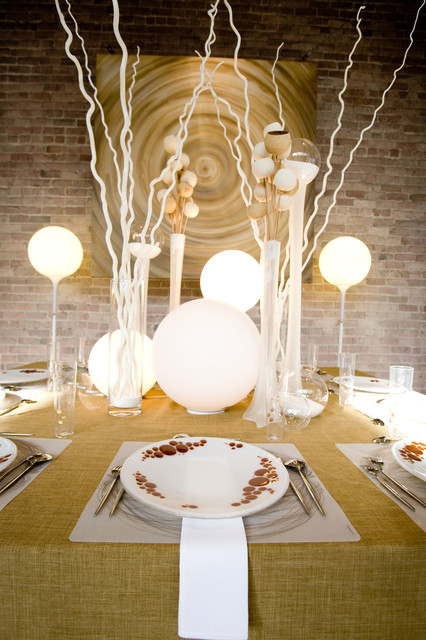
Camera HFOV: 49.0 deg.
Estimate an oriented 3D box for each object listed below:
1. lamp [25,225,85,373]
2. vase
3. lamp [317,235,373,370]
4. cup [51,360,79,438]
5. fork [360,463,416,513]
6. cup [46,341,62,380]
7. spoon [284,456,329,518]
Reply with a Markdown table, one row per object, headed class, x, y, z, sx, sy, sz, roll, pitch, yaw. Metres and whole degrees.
| class | x | y | z | sx | sy | sz | roll | pitch | yaw |
| --- | --- | --- | --- | --- | --- | --- | --- | --- | --- |
| lamp | -1.008 | -0.220 | 3.013 | 0.343 | 0.718 | 0.574 | 4 | -4 | -21 |
| vase | 0.028 | 0.014 | 1.295 | 0.433 | 0.618 | 0.356 | 3 | 1 | 7 |
| lamp | 0.870 | -0.108 | 3.107 | 0.324 | 0.806 | 0.487 | 1 | -4 | 17 |
| cup | -0.287 | 0.140 | 0.929 | 0.050 | 0.157 | 0.051 | 6 | 22 | -3 |
| fork | 0.259 | 0.247 | 0.690 | 0.024 | 0.013 | 0.108 | 9 | 4 | -7 |
| cup | -0.404 | 0.107 | 1.225 | 0.027 | 0.083 | 0.027 | 2 | 8 | 0 |
| spoon | 0.158 | 0.271 | 0.760 | 0.029 | 0.135 | 0.008 | -27 | 23 | 10 |
